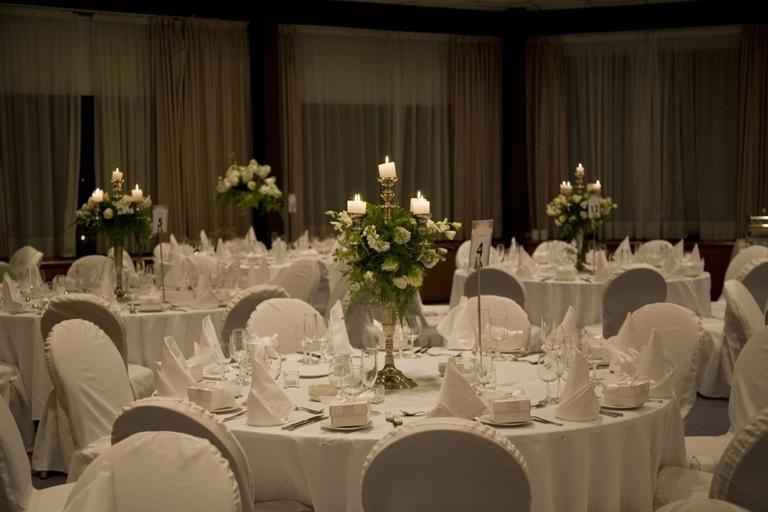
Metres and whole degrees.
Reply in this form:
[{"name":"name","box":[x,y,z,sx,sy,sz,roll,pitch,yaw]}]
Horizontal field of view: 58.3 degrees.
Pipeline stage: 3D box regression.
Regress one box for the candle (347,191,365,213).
[{"name":"candle","box":[-0.168,-0.298,4.103,0.113,0.172,0.132,0,0,1]}]

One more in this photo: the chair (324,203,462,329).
[{"name":"chair","box":[0.073,0.045,4.228,0.727,0.672,0.578,21,-30,-39]}]

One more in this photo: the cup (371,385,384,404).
[{"name":"cup","box":[-0.040,0.764,3.842,0.071,0.090,0.074,-1,-2,0]}]

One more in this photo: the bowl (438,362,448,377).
[{"name":"bowl","box":[0.360,0.700,4.298,0.051,0.081,0.065,0,-3,0]}]

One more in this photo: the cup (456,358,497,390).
[{"name":"cup","box":[0.530,0.665,3.956,0.160,0.158,0.187,-1,-11,4]}]

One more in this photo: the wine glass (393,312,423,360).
[{"name":"wine glass","box":[0.146,0.506,4.400,0.212,0.395,0.224,-1,0,24]}]

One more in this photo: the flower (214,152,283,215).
[{"name":"flower","box":[-1.826,-0.957,9.070,0.734,0.495,0.800,-16,6,-36]}]

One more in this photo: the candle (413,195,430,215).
[{"name":"candle","box":[0.219,-0.295,4.117,0.090,0.136,0.108,0,-2,1]}]

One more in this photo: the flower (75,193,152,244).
[{"name":"flower","box":[-2.541,-0.358,6.656,0.580,0.690,0.684,1,1,12]}]

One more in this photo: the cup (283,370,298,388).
[{"name":"cup","box":[-0.567,0.737,4.157,0.077,0.099,0.081,0,-4,0]}]

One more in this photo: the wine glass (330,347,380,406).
[{"name":"wine glass","box":[-0.151,0.662,3.743,0.273,0.357,0.187,3,-5,-24]}]
